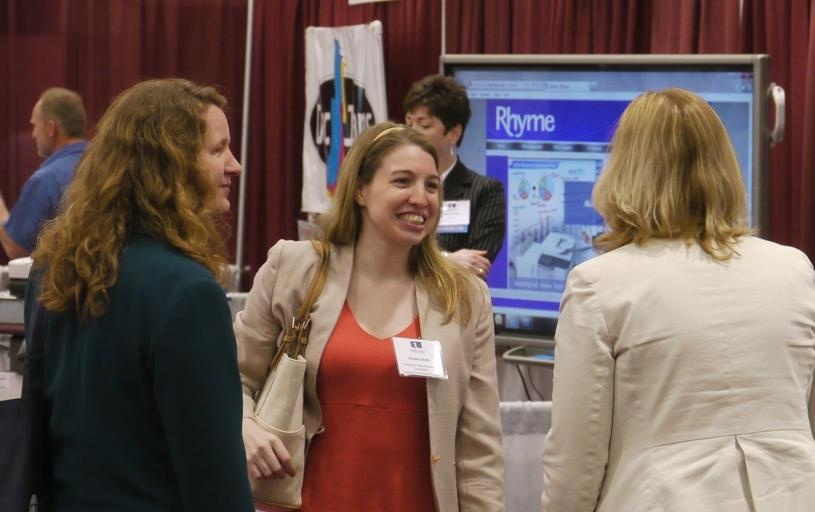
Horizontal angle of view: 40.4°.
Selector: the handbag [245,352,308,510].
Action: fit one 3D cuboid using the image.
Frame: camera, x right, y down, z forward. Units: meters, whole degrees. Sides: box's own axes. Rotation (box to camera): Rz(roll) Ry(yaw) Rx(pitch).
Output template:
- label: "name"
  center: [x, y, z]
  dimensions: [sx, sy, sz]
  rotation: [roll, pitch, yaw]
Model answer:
- label: "handbag"
  center: [-0.501, 0.705, 4.311]
  dimensions: [0.238, 0.546, 0.539]
  rotation: [10, 1, -8]
